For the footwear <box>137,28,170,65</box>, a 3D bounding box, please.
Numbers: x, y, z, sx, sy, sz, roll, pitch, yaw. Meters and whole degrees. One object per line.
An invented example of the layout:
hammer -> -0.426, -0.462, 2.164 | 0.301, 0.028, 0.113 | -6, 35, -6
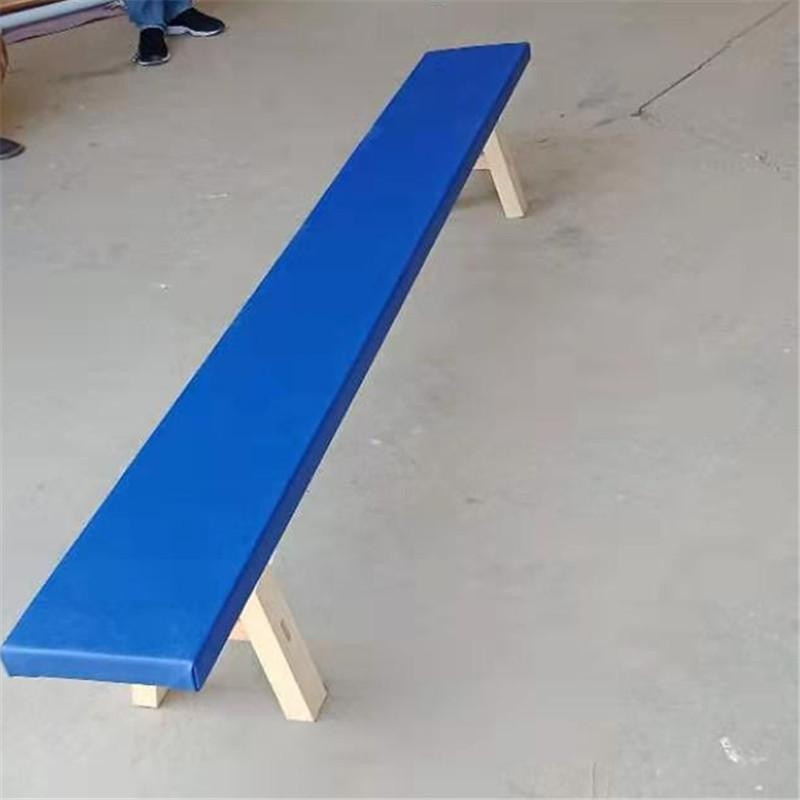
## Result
footwear -> -1.070, -1.520, 4.477 | 0.096, 0.109, 0.245 | -2, 38, -5

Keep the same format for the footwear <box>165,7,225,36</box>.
footwear -> -0.920, -1.669, 4.610 | 0.296, 0.116, 0.127 | 0, -32, 2
